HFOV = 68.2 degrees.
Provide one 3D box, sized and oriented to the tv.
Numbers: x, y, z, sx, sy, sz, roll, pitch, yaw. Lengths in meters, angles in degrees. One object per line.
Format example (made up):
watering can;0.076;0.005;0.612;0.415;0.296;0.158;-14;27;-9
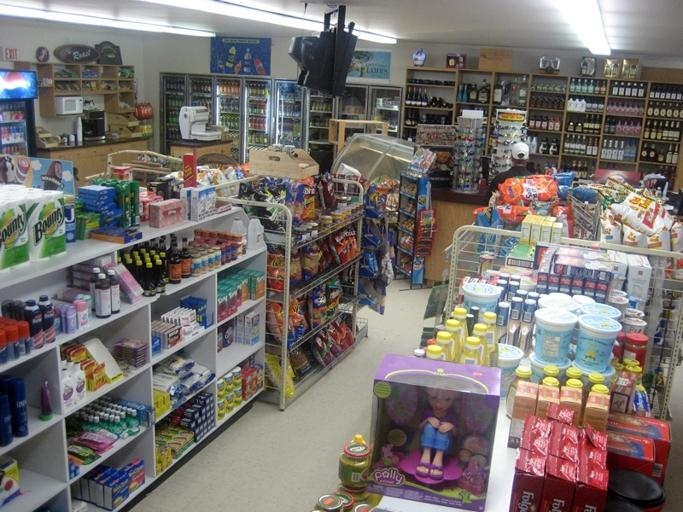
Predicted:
tv;-0.338;-2.227;6.283;0.697;0.964;0.941;0;16;-21

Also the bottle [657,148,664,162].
bottle;6.029;-1.888;9.560;0.108;0.185;0.122;4;17;11

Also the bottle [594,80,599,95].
bottle;4.756;-3.145;9.411;0.109;0.225;0.089;8;18;25

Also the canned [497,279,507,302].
canned;0.977;0.209;3.078;0.056;0.128;0.093;12;20;33

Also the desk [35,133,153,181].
desk;-3.986;-1.588;7.957;0.309;0.454;1.950;5;22;18

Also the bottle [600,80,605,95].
bottle;4.846;-3.128;9.378;0.118;0.260;0.110;1;17;0

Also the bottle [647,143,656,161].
bottle;5.895;-1.966;9.595;0.106;0.247;0.154;3;17;7

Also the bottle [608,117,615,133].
bottle;5.119;-2.480;9.582;0.148;0.272;0.207;12;20;33

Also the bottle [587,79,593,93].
bottle;4.641;-3.161;9.421;0.115;0.248;0.066;1;16;0

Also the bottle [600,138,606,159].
bottle;5.006;-2.032;9.648;0.108;0.342;0.141;9;19;28

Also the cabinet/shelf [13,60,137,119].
cabinet/shelf;-5.490;-3.523;10.841;0.382;0.977;2.448;12;22;19

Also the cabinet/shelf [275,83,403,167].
cabinet/shelf;0.430;-2.967;11.589;2.072;2.059;0.667;-9;19;-37

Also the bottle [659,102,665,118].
bottle;5.900;-2.690;9.304;0.131;0.242;0.055;4;-1;8

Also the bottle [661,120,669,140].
bottle;6.021;-2.336;9.407;0.092;0.322;0.091;1;16;0

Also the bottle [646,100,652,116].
bottle;5.701;-2.725;9.336;0.116;0.244;0.178;9;19;27

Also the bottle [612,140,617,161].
bottle;5.224;-2.013;9.616;0.073;0.315;0.105;6;17;17

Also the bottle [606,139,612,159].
bottle;5.127;-2.042;9.658;0.085;0.324;0.149;9;19;28

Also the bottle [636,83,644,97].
bottle;5.481;-3.033;9.240;0.141;0.233;0.066;-3;17;-11

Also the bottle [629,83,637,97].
bottle;5.359;-3.030;9.250;0.105;0.221;0.063;10;19;30

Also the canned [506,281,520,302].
canned;1.030;0.209;3.036;0.070;0.121;0.072;-9;25;-25

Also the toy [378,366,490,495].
toy;0.364;0.712;2.013;0.420;0.446;0.246;4;8;11

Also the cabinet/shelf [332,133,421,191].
cabinet/shelf;0.412;-1.583;7.959;1.001;0.922;1.356;31;22;27

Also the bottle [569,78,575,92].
bottle;4.360;-3.212;9.517;0.121;0.263;0.104;7;18;21

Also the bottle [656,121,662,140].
bottle;5.937;-2.346;9.424;0.085;0.310;0.096;7;18;22

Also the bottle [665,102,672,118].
bottle;6.012;-2.670;9.292;0.125;0.233;0.086;0;16;-1

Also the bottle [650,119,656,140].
bottle;5.808;-2.361;9.437;0.134;0.334;0.111;7;18;21

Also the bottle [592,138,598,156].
bottle;4.879;-2.096;9.733;0.092;0.304;0.127;6;18;19

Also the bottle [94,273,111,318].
bottle;-1.561;0.260;3.293;0.111;0.287;0.081;-9;19;-30

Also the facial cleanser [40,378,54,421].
facial cleanser;-1.792;0.869;3.048;0.073;0.218;0.102;-10;20;-32

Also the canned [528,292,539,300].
canned;1.122;0.235;2.958;0.041;0.038;0.043;3;14;14

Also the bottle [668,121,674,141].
bottle;6.119;-2.325;9.387;0.086;0.309;0.071;7;18;22

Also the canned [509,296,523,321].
canned;1.012;0.306;2.923;0.068;0.126;0.045;7;18;19

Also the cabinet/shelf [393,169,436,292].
cabinet/shelf;1.143;-0.439;7.844;0.398;1.810;0.688;-6;18;-20

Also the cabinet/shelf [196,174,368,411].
cabinet/shelf;-0.614;0.354;4.833;0.671;1.817;1.827;7;21;21

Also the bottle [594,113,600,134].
bottle;4.858;-2.518;9.623;0.133;0.351;0.125;1;16;0

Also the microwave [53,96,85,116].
microwave;-5.491;-3.020;10.189;0.349;0.424;0.638;8;15;25

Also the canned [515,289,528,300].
canned;1.070;0.226;3.001;0.053;0.052;0.053;-11;21;-31

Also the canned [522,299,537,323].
canned;1.071;0.315;2.897;0.066;0.126;0.060;7;18;21

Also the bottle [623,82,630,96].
bottle;5.247;-3.058;9.278;0.115;0.210;0.081;-1;17;-5

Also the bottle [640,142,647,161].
bottle;5.747;-1.981;9.590;0.118;0.287;0.128;1;17;0

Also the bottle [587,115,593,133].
bottle;4.730;-2.536;9.649;0.139;0.280;0.076;1;16;2

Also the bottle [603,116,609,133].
bottle;5.040;-2.502;9.612;0.112;0.295;0.238;9;19;26

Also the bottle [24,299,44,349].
bottle;-1.778;0.392;2.925;0.088;0.258;0.148;-10;20;-32

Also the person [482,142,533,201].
person;2.169;-1.024;6.490;0.443;0.836;1.184;2;18;5

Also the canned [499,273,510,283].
canned;0.989;0.134;3.105;0.053;0.062;0.053;-19;28;-36
